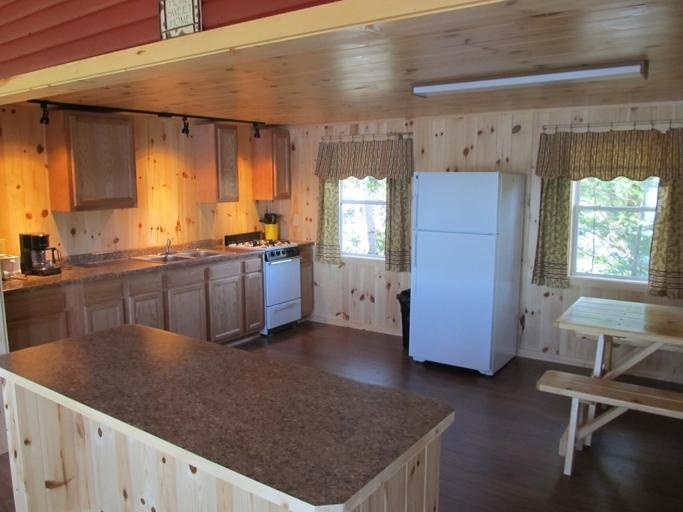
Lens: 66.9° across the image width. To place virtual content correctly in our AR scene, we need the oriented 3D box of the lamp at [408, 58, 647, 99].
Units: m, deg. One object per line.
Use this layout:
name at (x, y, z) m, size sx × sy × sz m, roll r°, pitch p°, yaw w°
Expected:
lamp at (1.334, -1.266, 3.741) m, size 1.529 × 0.138 × 0.276 m, roll 6°, pitch 13°, yaw 25°

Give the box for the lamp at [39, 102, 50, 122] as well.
lamp at (-2.694, -1.260, 4.672) m, size 0.083 × 0.182 × 0.325 m, roll -7°, pitch 14°, yaw -30°

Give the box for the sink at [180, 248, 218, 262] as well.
sink at (-1.712, -0.013, 6.062) m, size 0.212 × 0.104 × 0.267 m, roll 12°, pitch 16°, yaw 39°

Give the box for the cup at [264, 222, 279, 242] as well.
cup at (-0.969, -0.300, 7.006) m, size 0.220 × 0.377 × 0.221 m, roll 2°, pitch 4°, yaw 0°

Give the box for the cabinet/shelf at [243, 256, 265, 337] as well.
cabinet/shelf at (-1.068, 0.490, 6.211) m, size 0.108 × 0.949 × 0.341 m, roll 6°, pitch 14°, yaw 26°

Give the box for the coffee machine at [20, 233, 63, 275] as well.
coffee machine at (-2.729, -0.051, 4.783) m, size 0.397 × 0.494 × 0.319 m, roll -5°, pitch 15°, yaw -29°

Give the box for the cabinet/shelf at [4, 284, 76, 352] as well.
cabinet/shelf at (-2.508, 0.467, 4.332) m, size 0.413 × 0.581 × 0.604 m, roll 2°, pitch 7°, yaw 30°

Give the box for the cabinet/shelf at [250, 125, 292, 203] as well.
cabinet/shelf at (-0.918, -1.165, 6.701) m, size 0.509 × 0.879 × 0.337 m, roll -3°, pitch 13°, yaw -12°

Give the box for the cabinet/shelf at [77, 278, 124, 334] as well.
cabinet/shelf at (-2.221, 0.448, 4.800) m, size 0.395 × 0.593 × 0.407 m, roll 2°, pitch 5°, yaw 34°

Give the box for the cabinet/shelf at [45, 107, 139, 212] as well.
cabinet/shelf at (-2.393, -0.899, 4.858) m, size 0.352 × 0.997 × 0.850 m, roll 10°, pitch 14°, yaw 34°

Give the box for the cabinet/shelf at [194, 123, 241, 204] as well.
cabinet/shelf at (-1.474, -1.066, 6.070) m, size 0.477 × 0.886 × 0.270 m, roll -3°, pitch 13°, yaw -14°

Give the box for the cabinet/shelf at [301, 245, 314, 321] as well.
cabinet/shelf at (-0.479, 0.308, 6.937) m, size 0.096 × 0.944 × 0.321 m, roll 7°, pitch 14°, yaw 28°

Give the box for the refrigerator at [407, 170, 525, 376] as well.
refrigerator at (1.324, 0.167, 5.339) m, size 1.201 × 2.012 × 0.707 m, roll 1°, pitch 13°, yaw 5°

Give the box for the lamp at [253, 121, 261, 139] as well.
lamp at (-1.080, -1.565, 6.554) m, size 0.098 × 0.183 × 0.254 m, roll -2°, pitch 12°, yaw -9°
